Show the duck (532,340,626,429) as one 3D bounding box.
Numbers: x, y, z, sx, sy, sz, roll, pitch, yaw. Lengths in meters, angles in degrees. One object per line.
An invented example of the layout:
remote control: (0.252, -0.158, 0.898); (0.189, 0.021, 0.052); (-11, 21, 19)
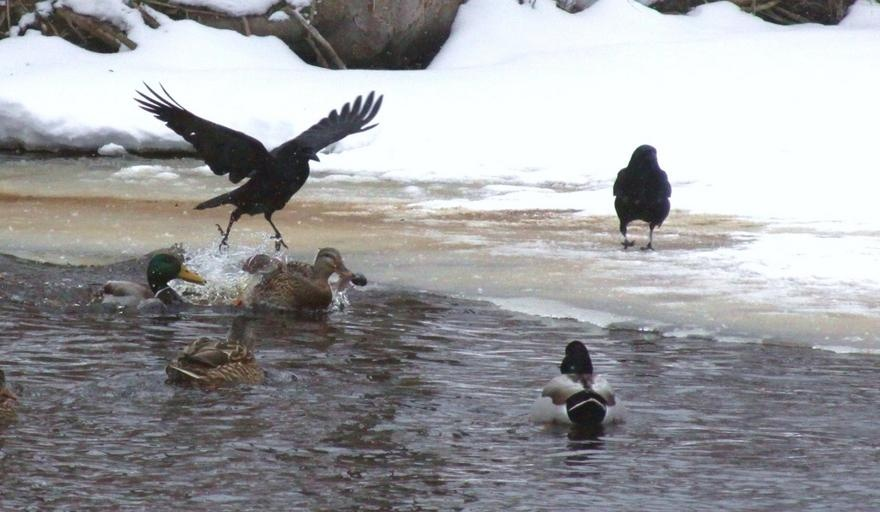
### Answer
duck: (2.034, 1.863, 21.064); (1.502, 0.982, 1.879); (-5, 9, 1)

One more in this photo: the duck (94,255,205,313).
duck: (-5.060, 0.539, 25.419); (2.001, 1.000, 0.642); (-1, 9, -29)

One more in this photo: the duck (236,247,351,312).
duck: (-2.431, 0.474, 24.756); (1.622, 1.019, 2.654); (1, 2, -17)

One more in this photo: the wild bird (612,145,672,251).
wild bird: (3.513, -1.130, 25.599); (1.439, 2.091, 1.456); (1, 4, 12)
